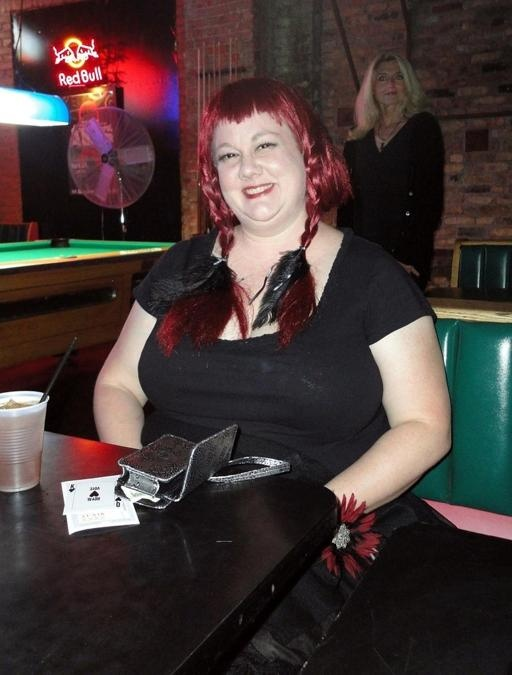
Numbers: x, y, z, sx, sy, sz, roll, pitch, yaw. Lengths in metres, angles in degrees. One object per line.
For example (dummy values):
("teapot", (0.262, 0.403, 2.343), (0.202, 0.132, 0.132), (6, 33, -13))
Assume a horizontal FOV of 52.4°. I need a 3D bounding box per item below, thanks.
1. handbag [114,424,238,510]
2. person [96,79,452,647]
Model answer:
("handbag", (-0.106, 0.155, 0.679), (0.082, 0.054, 0.118), (4, 16, 29))
("person", (0.016, -0.037, 1.231), (0.796, 1.057, 0.599), (3, 12, 20))
